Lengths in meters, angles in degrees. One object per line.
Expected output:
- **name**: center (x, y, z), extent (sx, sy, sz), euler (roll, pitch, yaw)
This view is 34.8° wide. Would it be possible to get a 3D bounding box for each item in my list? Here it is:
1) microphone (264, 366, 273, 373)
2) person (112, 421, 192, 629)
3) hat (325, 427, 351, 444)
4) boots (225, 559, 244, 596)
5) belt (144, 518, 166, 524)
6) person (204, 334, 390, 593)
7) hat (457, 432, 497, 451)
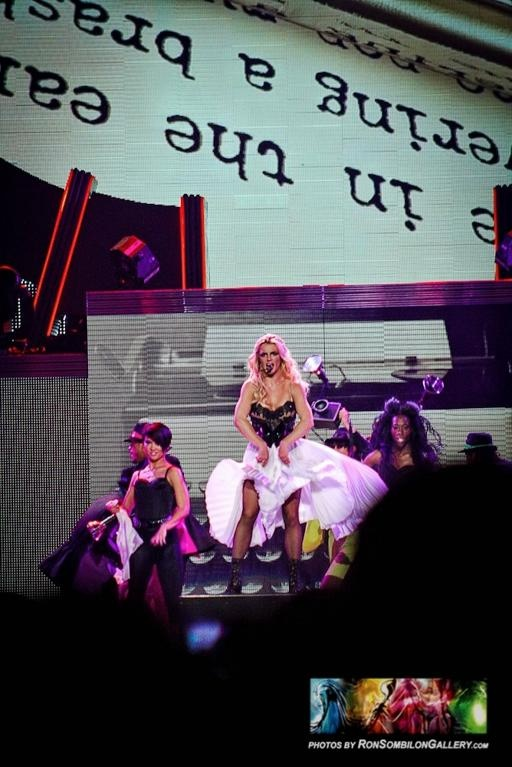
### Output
- **microphone**: center (0.067, -0.083, 4.756), extent (0.028, 0.040, 0.012), euler (3, 10, 11)
- **person**: center (-0.620, 0.833, 4.910), extent (0.467, 0.875, 0.261), euler (4, -2, 4)
- **hat**: center (0.498, 0.323, 5.111), extent (0.120, 0.072, 0.095), euler (-6, -5, 7)
- **boots**: center (-0.127, 1.119, 4.801), extent (0.090, 0.137, 0.236), euler (4, -2, -1)
- **belt**: center (-0.597, 0.813, 4.835), extent (0.105, 0.026, 0.013), euler (4, -2, -4)
- **person**: center (0.240, 0.542, 4.895), extent (1.205, 1.629, 0.758), euler (-5, -23, 12)
- **hat**: center (1.415, 0.368, 5.204), extent (0.154, 0.080, 0.118), euler (3, -5, -2)
